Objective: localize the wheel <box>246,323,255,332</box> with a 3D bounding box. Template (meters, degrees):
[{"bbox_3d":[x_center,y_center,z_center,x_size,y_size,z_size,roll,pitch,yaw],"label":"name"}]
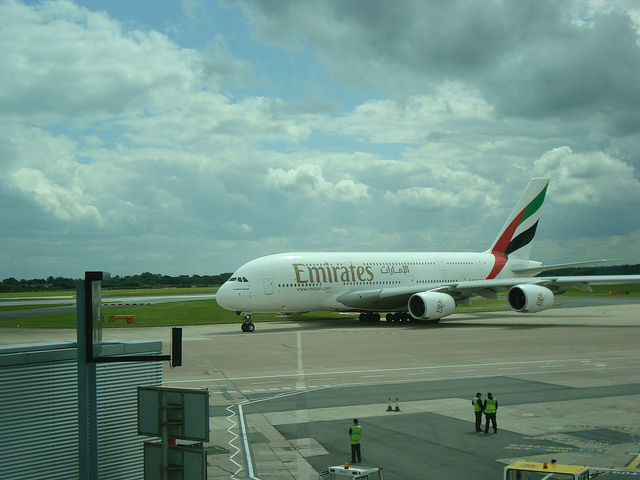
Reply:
[{"bbox_3d":[-4.992,6.113,46.170,0.293,0.572,0.759,0,1,41],"label":"wheel"}]

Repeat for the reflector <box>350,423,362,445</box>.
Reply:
[{"bbox_3d":[0.952,5.178,17.611,0.216,0.534,0.241,-2,-5,10],"label":"reflector"}]

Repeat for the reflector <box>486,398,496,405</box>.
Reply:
[{"bbox_3d":[5.143,4.852,19.774,0.174,0.117,0.160,3,-6,-42],"label":"reflector"}]

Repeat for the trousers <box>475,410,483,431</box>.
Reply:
[{"bbox_3d":[4.826,5.460,20.048,0.210,0.578,0.391,-2,-5,11],"label":"trousers"}]

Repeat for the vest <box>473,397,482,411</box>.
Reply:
[{"bbox_3d":[4.813,4.999,20.062,0.250,0.394,0.285,-2,-5,8],"label":"vest"}]

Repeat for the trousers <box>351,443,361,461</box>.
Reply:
[{"bbox_3d":[0.955,5.660,17.671,0.255,0.468,0.297,-1,-5,2],"label":"trousers"}]

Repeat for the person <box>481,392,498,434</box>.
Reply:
[{"bbox_3d":[5.148,5.214,19.976,0.448,1.150,0.607,-2,-5,12],"label":"person"}]

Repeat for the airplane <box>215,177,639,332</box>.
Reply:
[{"bbox_3d":[7.965,3.151,51.626,25.770,6.417,18.678,0,-2,-32],"label":"airplane"}]

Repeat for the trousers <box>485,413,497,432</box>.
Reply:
[{"bbox_3d":[5.167,5.495,19.893,0.345,0.529,0.347,-2,-5,12],"label":"trousers"}]

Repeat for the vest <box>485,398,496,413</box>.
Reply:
[{"bbox_3d":[5.141,4.964,19.826,0.329,0.436,0.223,-2,-5,9],"label":"vest"}]
